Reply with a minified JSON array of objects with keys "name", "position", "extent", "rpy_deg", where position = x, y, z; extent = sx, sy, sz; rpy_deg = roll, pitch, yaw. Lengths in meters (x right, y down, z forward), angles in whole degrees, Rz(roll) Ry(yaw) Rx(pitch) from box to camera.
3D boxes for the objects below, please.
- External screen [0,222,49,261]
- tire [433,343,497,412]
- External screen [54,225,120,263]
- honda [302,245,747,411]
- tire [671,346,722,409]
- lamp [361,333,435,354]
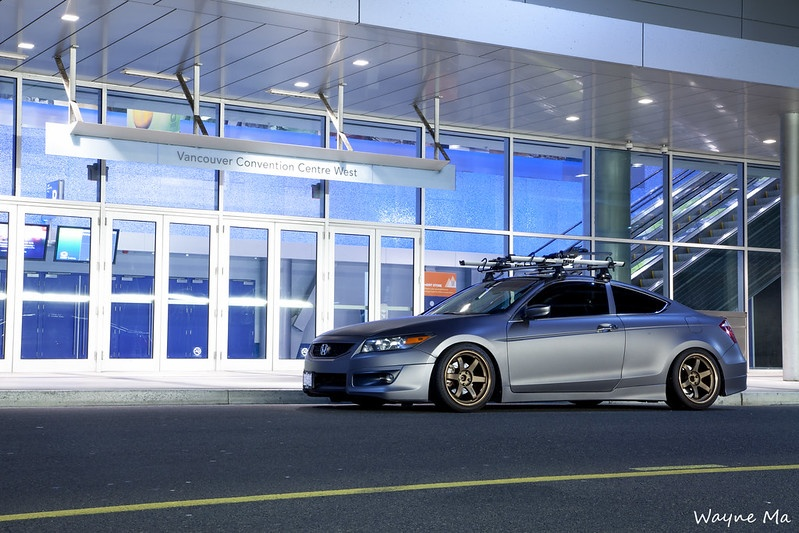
[{"name":"External screen","position":[-7.753,-0.534,19.520],"extent":[0.957,0.565,0.035],"rpy_deg":[1,-2,-28]},{"name":"tire","position":[0.952,1.565,13.392],"extent":[0.941,0.953,0.216],"rpy_deg":[1,-6,-24]},{"name":"External screen","position":[-6.645,-0.498,20.018],"extent":[0.950,0.544,0.064],"rpy_deg":[4,-9,-24]},{"name":"honda","position":[1.895,0.985,14.720],"extent":[6.262,1.866,2.614],"rpy_deg":[4,-9,-17]},{"name":"tire","position":[4.530,1.680,14.514],"extent":[0.780,0.744,0.267],"rpy_deg":[40,-26,-11]},{"name":"lamp","position":[-0.032,1.077,13.264],"extent":[0.954,0.227,0.175],"rpy_deg":[-1,-5,-8]}]
